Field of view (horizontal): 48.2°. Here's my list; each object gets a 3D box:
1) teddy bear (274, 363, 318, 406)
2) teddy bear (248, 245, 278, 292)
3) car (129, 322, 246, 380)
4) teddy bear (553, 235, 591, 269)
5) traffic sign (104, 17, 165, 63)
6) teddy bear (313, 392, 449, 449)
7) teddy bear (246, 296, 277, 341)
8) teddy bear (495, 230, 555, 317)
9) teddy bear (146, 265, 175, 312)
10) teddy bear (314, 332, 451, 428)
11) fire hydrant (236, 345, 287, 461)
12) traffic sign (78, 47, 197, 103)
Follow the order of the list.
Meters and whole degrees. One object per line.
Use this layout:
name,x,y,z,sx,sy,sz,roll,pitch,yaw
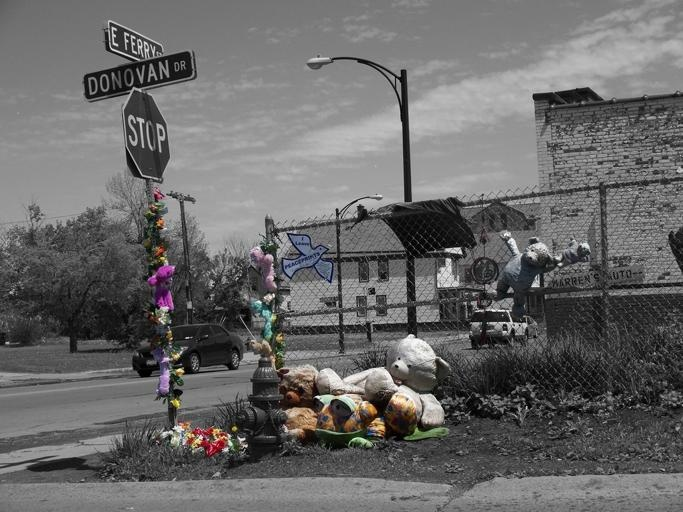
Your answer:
teddy bear,-0.557,1.579,9.344,0.380,0.531,0.414,-3,-6,20
teddy bear,-1.025,0.183,10.149,0.310,0.650,0.308,-5,-3,-7
car,-4.859,3.054,25.085,1.802,1.718,4.626,-7,-7,19
teddy bear,3.428,-0.056,11.468,0.622,0.398,0.202,-16,20,46
traffic sign,-2.592,-2.688,9.717,0.147,0.350,0.989,-6,-2,27
teddy bear,0.480,1.933,9.186,1.075,0.696,1.290,-6,-11,24
teddy bear,-1.020,0.741,10.201,0.381,0.645,0.376,-4,20,-2
teddy bear,2.332,0.208,9.847,0.796,0.900,0.476,-6,-3,12
teddy bear,-2.131,0.382,9.090,0.305,0.576,0.801,-4,-3,-14
teddy bear,0.431,1.488,9.382,1.040,1.338,1.478,-6,-8,38
fire hydrant,-0.898,1.691,8.817,0.475,1.206,0.527,-4,-7,42
traffic sign,-2.531,-2.267,9.665,1.461,0.414,0.157,-11,-8,6
